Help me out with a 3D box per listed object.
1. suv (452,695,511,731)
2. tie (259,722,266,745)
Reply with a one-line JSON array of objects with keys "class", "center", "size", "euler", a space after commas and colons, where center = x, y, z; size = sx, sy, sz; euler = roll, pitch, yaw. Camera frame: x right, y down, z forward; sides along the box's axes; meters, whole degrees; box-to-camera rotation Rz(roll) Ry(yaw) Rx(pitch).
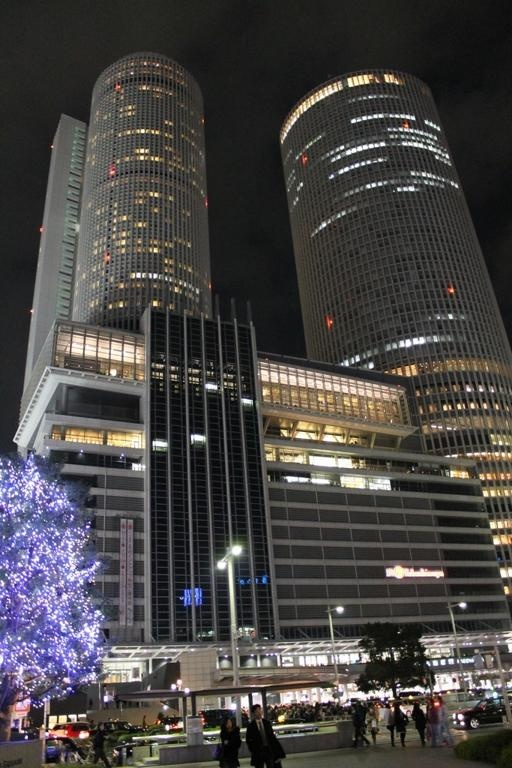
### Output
[{"class": "suv", "center": [12.079, 17.602, 33.087], "size": [2.941, 1.246, 1.886], "euler": [1, -26, -15]}, {"class": "tie", "center": [0.123, 6.853, 12.221], "size": [0.145, 0.392, 0.074], "euler": [14, -32, -36]}]
